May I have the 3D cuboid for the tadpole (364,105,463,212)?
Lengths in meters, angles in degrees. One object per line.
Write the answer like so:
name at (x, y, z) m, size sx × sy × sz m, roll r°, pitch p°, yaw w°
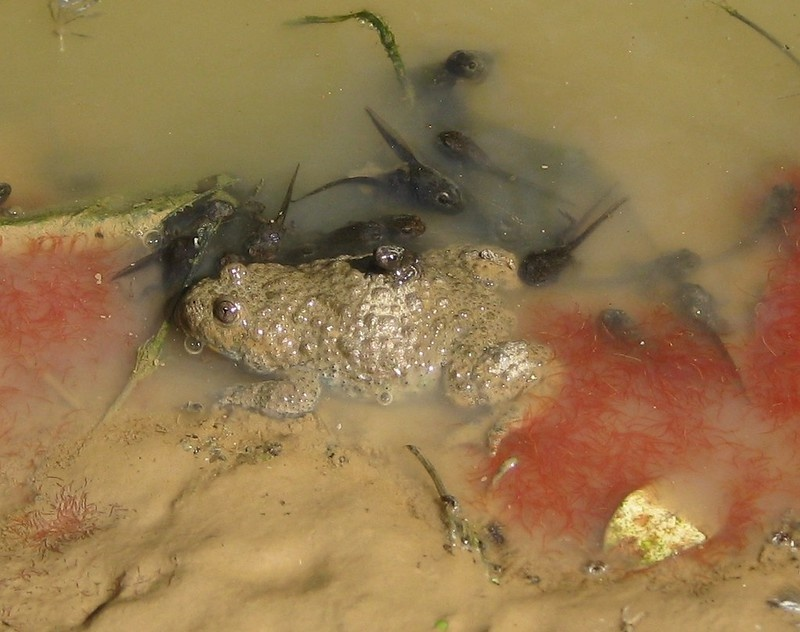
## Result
tadpole at (0.042, -1.155, 8.384) m, size 1.046 × 0.239 × 0.299 m, roll 35°, pitch 78°, yaw 4°

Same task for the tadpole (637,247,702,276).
tadpole at (1.971, -0.370, 8.254) m, size 0.393 × 0.077 × 0.194 m, roll -23°, pitch 72°, yaw -11°

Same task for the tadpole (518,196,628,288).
tadpole at (1.278, -0.511, 8.251) m, size 0.977 × 0.202 × 0.269 m, roll -28°, pitch 86°, yaw 3°

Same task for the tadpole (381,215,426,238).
tadpole at (0.015, -0.670, 8.362) m, size 0.277 × 0.085 × 0.173 m, roll -7°, pitch 70°, yaw -5°

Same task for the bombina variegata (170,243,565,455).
bombina variegata at (-0.204, 0.101, 8.005) m, size 2.474 × 0.786 × 1.360 m, roll -3°, pitch 78°, yaw -1°

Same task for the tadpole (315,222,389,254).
tadpole at (-0.364, -0.556, 8.286) m, size 0.417 × 0.109 × 0.255 m, roll -2°, pitch 38°, yaw 22°

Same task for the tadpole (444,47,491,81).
tadpole at (0.491, -1.891, 8.556) m, size 0.356 × 0.067 × 0.235 m, roll 4°, pitch 68°, yaw -1°

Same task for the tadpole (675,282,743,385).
tadpole at (2.192, 0.085, 8.126) m, size 0.245 × 0.088 × 0.753 m, roll -15°, pitch 70°, yaw -8°

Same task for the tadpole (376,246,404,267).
tadpole at (-0.889, -0.712, 8.357) m, size 0.057 × 0.162 × 0.043 m, roll 5°, pitch 31°, yaw -38°
